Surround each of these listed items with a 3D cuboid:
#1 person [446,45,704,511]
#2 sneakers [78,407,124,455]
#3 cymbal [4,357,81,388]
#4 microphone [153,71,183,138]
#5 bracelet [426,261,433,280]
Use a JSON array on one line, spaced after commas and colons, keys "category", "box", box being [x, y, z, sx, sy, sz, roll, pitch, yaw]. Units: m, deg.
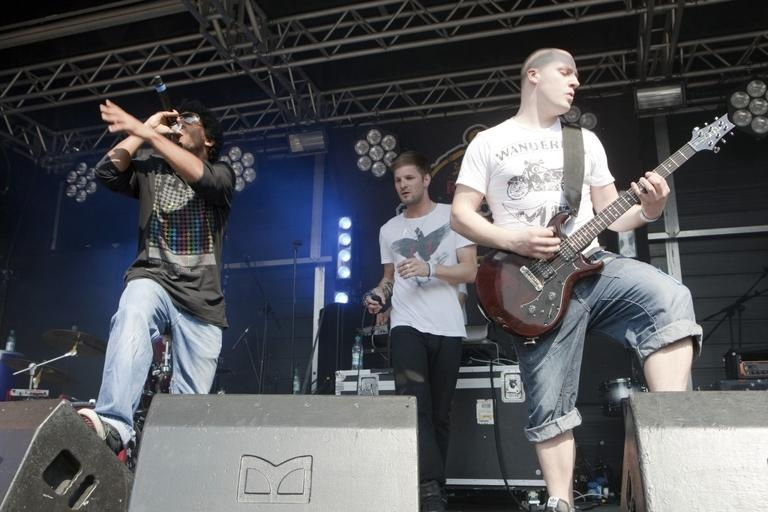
[{"category": "person", "box": [0.974, 0.023, 3.033, 1.145, 2.521, 0.553, -5, -12, 31]}, {"category": "sneakers", "box": [-1.337, 0.825, 2.723, 0.254, 0.090, 0.142, 57, -15, -29]}, {"category": "cymbal", "box": [-4.610, 1.578, 7.805, 0.598, 0.325, 0.643, -7, -33, 10]}, {"category": "microphone", "box": [-1.299, -0.911, 3.539, 0.112, 0.111, 0.381, 39, -28, 45]}, {"category": "bracelet", "box": [0.326, 0.103, 4.311, 0.026, 0.088, 0.081, 4, -33, -3]}]
